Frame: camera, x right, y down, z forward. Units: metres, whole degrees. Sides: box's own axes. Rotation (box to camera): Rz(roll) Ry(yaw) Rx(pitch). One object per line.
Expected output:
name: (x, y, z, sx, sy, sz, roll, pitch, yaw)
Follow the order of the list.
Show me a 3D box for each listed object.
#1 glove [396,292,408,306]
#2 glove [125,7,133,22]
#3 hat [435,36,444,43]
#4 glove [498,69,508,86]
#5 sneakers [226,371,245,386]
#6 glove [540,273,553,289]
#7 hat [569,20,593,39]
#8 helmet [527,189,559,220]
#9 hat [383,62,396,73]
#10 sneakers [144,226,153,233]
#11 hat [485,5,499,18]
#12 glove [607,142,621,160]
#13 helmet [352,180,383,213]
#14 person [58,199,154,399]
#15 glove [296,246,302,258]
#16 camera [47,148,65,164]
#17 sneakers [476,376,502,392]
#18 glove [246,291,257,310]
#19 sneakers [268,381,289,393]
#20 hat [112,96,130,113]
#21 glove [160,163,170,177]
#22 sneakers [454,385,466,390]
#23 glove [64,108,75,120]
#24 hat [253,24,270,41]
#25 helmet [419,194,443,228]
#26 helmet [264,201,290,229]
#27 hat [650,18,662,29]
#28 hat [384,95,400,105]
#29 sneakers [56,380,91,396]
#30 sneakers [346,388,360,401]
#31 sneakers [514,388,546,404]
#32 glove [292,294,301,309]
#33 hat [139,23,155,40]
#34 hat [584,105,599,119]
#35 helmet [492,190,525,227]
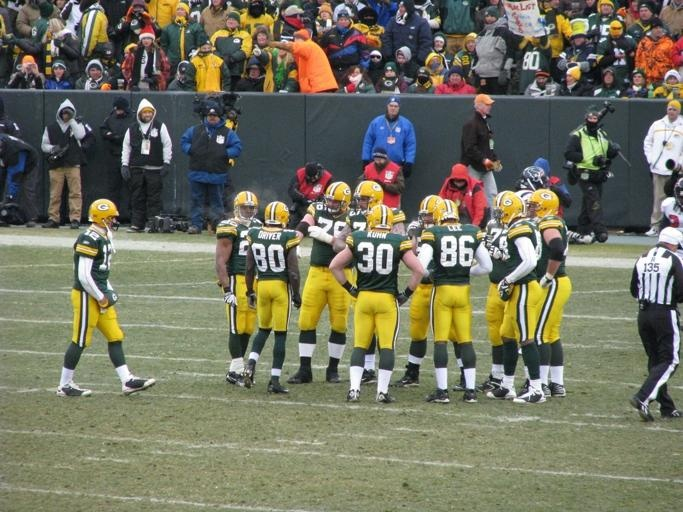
glove: (0.851, 0.589, 18.246, 0.173, 0.162, 0.141, -22, 8, -3)
glove: (-4.563, -5.313, 29.233, 0.099, 0.322, 0.226, 11, -15, -43)
hat: (2.098, -4.573, 28.154, 0.159, 0.061, 0.162, 8, 10, 29)
glove: (3.404, -3.720, 27.869, 0.235, 0.384, 0.217, 0, 3, 7)
sneakers: (-1.456, 1.716, 18.795, 0.293, 0.183, 0.135, 2, 2, 25)
glove: (2.817, 0.339, 18.271, 0.140, 0.197, 0.165, -11, 5, -26)
hat: (4.974, -4.731, 27.782, 0.386, 0.386, 0.385, 0, 3, 13)
helmet: (2.818, -0.721, 18.622, 0.403, 0.349, 0.326, 8, 10, 10)
hat: (1.052, -3.947, 27.919, 0.240, 0.208, 0.372, 3, 4, 1)
sneakers: (-4.003, -0.554, 27.998, 0.130, 0.100, 0.143, -1, 10, -8)
hat: (3.148, -5.061, 27.721, 0.180, 0.193, 0.256, 25, 16, 36)
glove: (5.335, -2.065, 26.169, 0.198, 0.325, 0.372, 3, 4, 8)
helmet: (0.418, -0.878, 19.041, 0.425, 0.388, 0.336, -22, 10, -23)
person: (-3.260, 0.582, 18.168, 1.069, 2.652, 0.603, 1, 4, -14)
glove: (-0.603, -0.053, 19.401, 0.071, 0.220, 0.092, -1, 41, 4)
camera: (-5.878, -2.095, 27.772, 0.325, 0.120, 0.245, -36, 0, 23)
sneakers: (2.114, 1.793, 18.771, 0.408, 0.211, 0.141, 1, 15, -1)
glove: (-1.233, 0.618, 18.699, 0.133, 0.237, 0.139, 2, 4, -4)
sneakers: (-0.853, 1.805, 18.501, 0.282, 0.173, 0.142, 1, 9, -12)
hat: (-4.535, -3.139, 27.735, 0.250, 0.260, 0.338, 19, 9, 6)
glove: (-3.542, -1.763, 27.373, 0.167, 0.248, 0.079, 2, -13, 46)
sneakers: (1.663, 1.831, 18.689, 0.176, 0.082, 0.067, 8, 2, 2)
glove: (-5.632, -2.944, 27.789, 0.200, 0.170, 0.213, 3, 7, 6)
hat: (-1.623, -4.645, 27.858, 0.296, 0.308, 0.315, -2, 3, -7)
helmet: (1.272, -0.643, 18.607, 0.402, 0.417, 0.302, -14, 15, -32)
helmet: (-0.917, -0.568, 18.713, 0.293, 0.374, 0.380, 5, 15, 9)
hat: (6.440, -4.725, 27.201, 0.243, 0.249, 0.380, 3, 4, 13)
hat: (1.040, -3.044, 26.397, 0.282, 0.226, 0.224, -1, 48, 1)
sneakers: (-3.613, 1.791, 18.237, 0.516, 0.231, 0.189, 1, 7, -9)
sneakers: (0.178, 1.890, 18.218, 0.180, 0.191, 0.114, -2, 12, -2)
sneakers: (2.601, 1.903, 18.231, 0.495, 0.226, 0.173, 0, 4, -1)
glove: (-0.604, 0.619, 18.641, 0.074, 0.226, 0.149, -2, 10, 7)
hat: (-4.070, -4.724, 28.191, 0.282, 0.316, 0.374, 6, 6, -1)
hat: (4.889, -2.809, 26.014, 0.287, 0.336, 0.326, 8, 5, -3)
helmet: (2.380, -0.677, 18.529, 0.462, 0.439, 0.351, 8, 25, 34)
